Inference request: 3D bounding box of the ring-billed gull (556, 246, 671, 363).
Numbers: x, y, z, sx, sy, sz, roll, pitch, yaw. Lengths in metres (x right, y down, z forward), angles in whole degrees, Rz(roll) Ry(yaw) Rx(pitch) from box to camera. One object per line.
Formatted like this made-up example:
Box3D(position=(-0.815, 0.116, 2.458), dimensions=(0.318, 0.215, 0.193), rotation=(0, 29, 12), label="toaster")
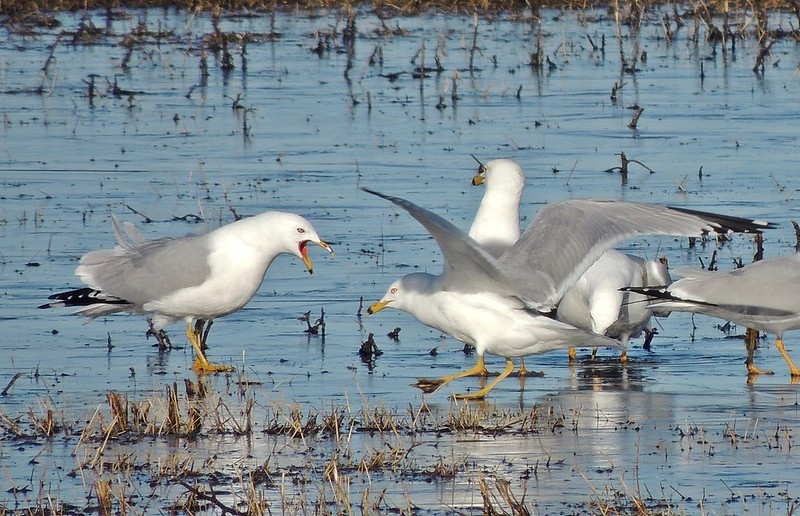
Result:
Box3D(position=(3.150, 0.647, 26.505), dimensions=(1.324, 1.036, 2.227), rotation=(-5, 22, 24), label="ring-billed gull")
